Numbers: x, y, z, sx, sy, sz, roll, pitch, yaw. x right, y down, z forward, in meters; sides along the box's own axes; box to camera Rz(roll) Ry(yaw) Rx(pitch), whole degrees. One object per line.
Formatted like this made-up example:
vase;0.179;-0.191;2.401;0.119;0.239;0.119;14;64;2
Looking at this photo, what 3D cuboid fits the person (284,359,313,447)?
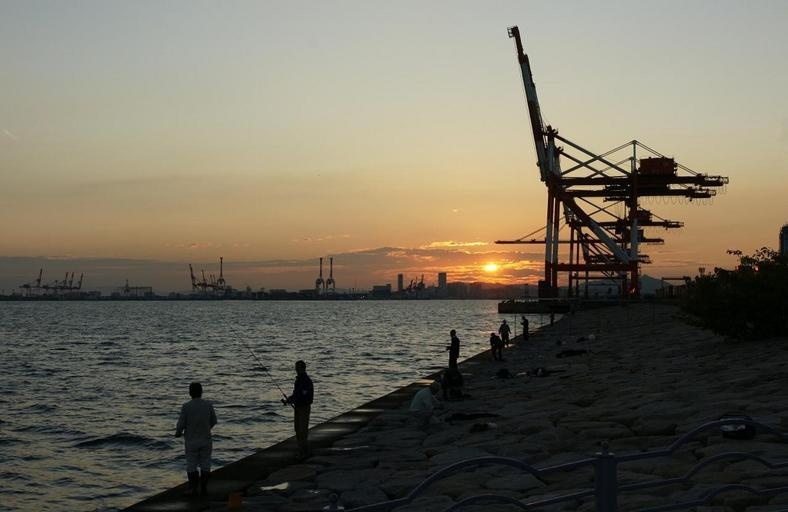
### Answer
person;-2.676;4.249;28.653;0.709;2.576;1.287;-1;-5;-4
